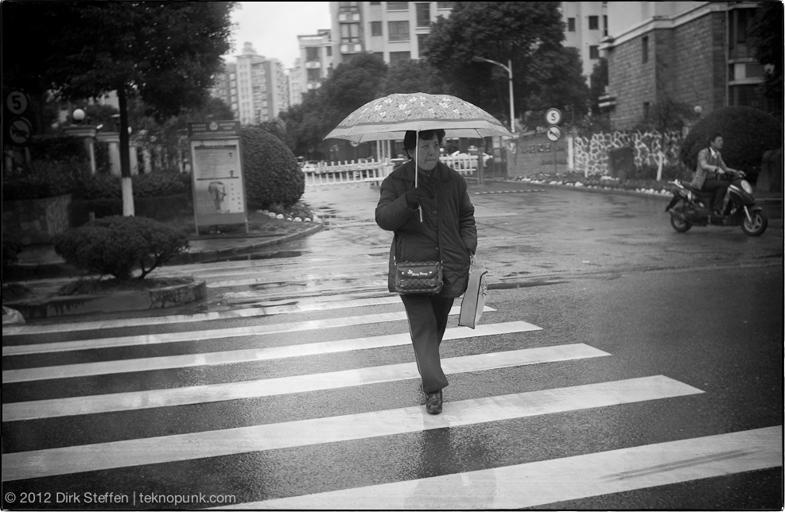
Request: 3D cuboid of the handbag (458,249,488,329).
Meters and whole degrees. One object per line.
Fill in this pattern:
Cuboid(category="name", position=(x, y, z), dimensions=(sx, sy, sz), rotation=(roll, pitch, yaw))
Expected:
Cuboid(category="handbag", position=(0.895, 0.456, 7.684), dimensions=(0.247, 0.586, 0.608), rotation=(12, 10, 11))

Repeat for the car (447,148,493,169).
Cuboid(category="car", position=(5.334, -6.555, 46.159), dimensions=(3.977, 1.446, 1.895), rotation=(-4, 8, -19))

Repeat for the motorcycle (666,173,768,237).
Cuboid(category="motorcycle", position=(7.432, -1.242, 15.889), dimensions=(0.957, 1.474, 2.362), rotation=(4, 3, -34))

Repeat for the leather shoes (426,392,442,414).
Cuboid(category="leather shoes", position=(0.433, 1.496, 7.156), dimensions=(0.171, 0.189, 0.233), rotation=(-1, 15, 2))

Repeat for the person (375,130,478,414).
Cuboid(category="person", position=(0.367, 0.098, 7.367), dimensions=(0.876, 2.795, 1.107), rotation=(8, 18, 35))
